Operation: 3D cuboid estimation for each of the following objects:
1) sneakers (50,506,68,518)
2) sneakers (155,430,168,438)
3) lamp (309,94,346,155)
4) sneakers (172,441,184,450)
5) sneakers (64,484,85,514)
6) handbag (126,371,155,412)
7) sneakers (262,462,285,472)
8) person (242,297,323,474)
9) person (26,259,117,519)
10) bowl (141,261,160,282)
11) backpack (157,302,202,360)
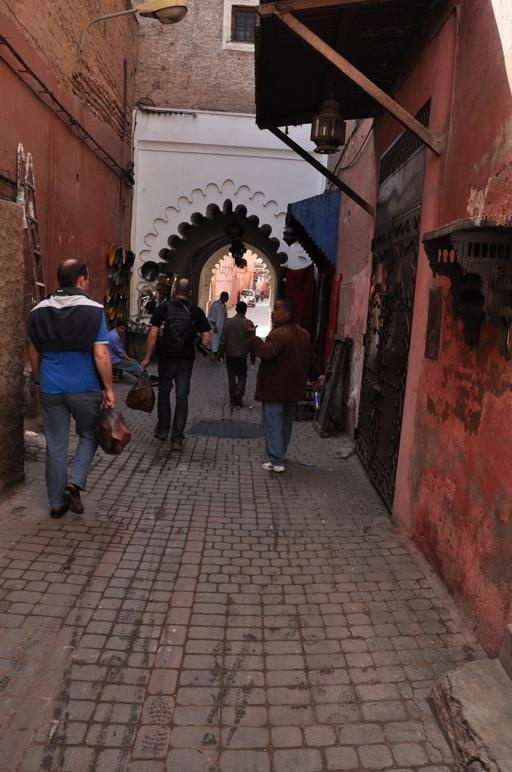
[{"bbox_3d":[-1.385,0.883,3.651,0.053,0.064,0.155,3,26,1],"label":"sneakers"},{"bbox_3d":[-1.157,0.602,6.356,0.090,0.101,0.116,5,-18,4],"label":"sneakers"},{"bbox_3d":[0.749,-2.772,5.386,0.338,0.665,0.484,2,2,5],"label":"lamp"},{"bbox_3d":[-0.897,0.688,5.880,0.056,0.074,0.151,2,2,-1],"label":"sneakers"},{"bbox_3d":[-1.277,0.809,3.624,0.119,0.284,0.334,1,2,-20],"label":"sneakers"},{"bbox_3d":[-1.282,0.067,5.722,0.275,0.442,0.466,2,2,-15],"label":"handbag"},{"bbox_3d":[0.181,0.858,5.455,0.210,0.106,0.095,9,6,20],"label":"sneakers"},{"bbox_3d":[0.274,0.003,5.399,0.549,1.811,0.744,3,2,19],"label":"person"},{"bbox_3d":[-1.286,0.032,3.587,0.582,1.822,0.353,2,2,-10],"label":"person"},{"bbox_3d":[-2.767,-3.006,13.494,0.404,0.527,0.362,2,9,-9],"label":"bowl"},{"bbox_3d":[-0.866,-0.641,5.863,0.517,0.871,0.479,3,-26,-8],"label":"backpack"}]
